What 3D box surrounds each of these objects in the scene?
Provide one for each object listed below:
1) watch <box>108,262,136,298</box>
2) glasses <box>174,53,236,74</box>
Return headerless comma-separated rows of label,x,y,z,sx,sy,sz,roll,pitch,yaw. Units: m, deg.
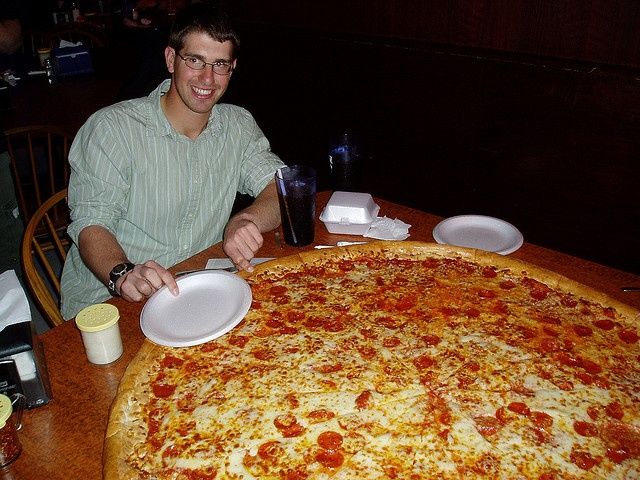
watch,-0.715,0.145,1.662,0.063,0.096,0.099,39,5,10
glasses,-0.510,-0.797,2.090,0.250,0.096,0.118,-8,28,-16
